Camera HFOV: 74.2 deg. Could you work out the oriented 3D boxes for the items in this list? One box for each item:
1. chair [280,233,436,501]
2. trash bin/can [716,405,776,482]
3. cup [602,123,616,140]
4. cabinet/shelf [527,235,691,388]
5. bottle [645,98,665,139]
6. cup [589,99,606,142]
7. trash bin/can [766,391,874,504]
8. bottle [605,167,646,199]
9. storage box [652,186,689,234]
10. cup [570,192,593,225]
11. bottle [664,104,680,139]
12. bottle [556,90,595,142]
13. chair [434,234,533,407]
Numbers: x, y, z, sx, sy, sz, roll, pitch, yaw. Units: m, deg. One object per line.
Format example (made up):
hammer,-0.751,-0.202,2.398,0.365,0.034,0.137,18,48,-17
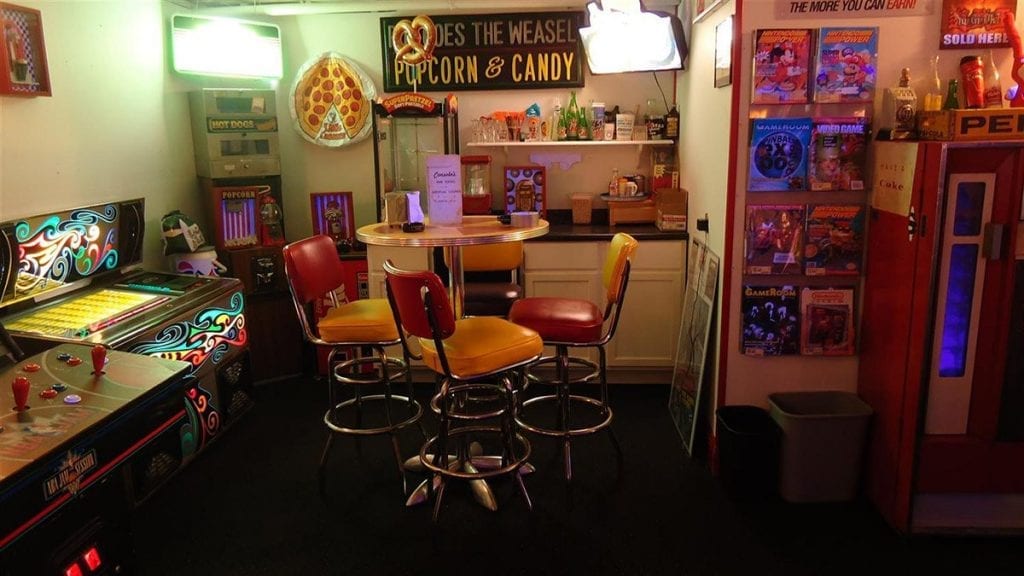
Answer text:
chair,-1.150,0.481,5.274,1.112,1.647,0.990,8,14,30
trash bin/can,1.648,1.117,5.031,0.462,0.468,0.659,0,5,1
cup,0.928,-1.510,6.518,0.107,0.155,0.109,-3,17,1
cabinet/shelf,0.831,0.121,5.744,1.466,1.259,0.492,0,6,4
bottle,1.387,-1.636,6.550,0.190,0.377,0.282,1,17,13
cup,0.835,-1.625,6.581,0.136,0.342,0.287,-1,17,8
trash bin/can,2.180,1.152,4.785,0.826,0.917,0.556,0,5,1
bottle,1.119,-1.032,6.657,0.446,0.412,0.238,3,13,5
storage box,1.465,-0.734,6.226,0.268,0.351,0.351,0,17,12
cup,0.687,-0.784,6.668,0.198,0.276,0.159,0,17,9
bottle,1.532,-1.574,6.478,0.140,0.306,0.128,-3,17,1
bottle,0.610,-1.673,6.592,0.340,0.439,0.304,-2,17,3
chair,-0.193,-0.006,5.756,0.726,0.981,0.724,5,19,22
